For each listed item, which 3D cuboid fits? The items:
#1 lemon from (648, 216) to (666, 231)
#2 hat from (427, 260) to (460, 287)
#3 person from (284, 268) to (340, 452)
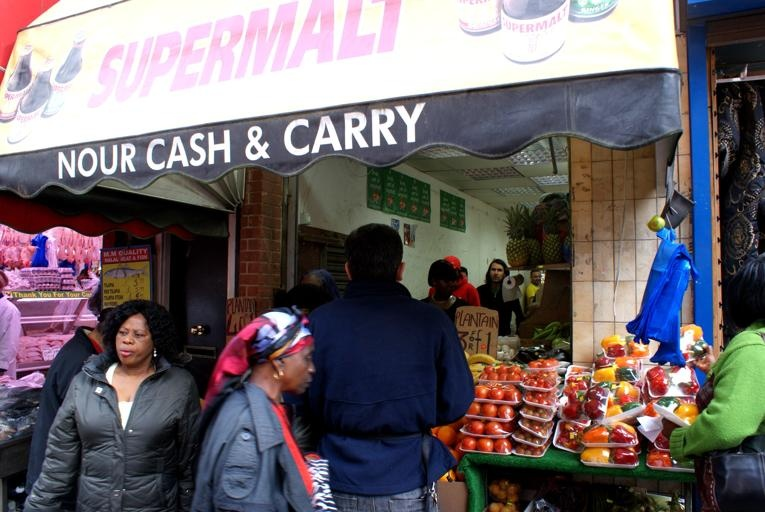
[{"bbox_3d":[1.901,-0.219,4.062,0.124,0.096,0.096,-9,1,-35],"label":"lemon"},{"bbox_3d":[0.645,0.192,6.327,0.312,0.304,0.246,-2,3,23],"label":"hat"},{"bbox_3d":[-0.621,0.828,4.995,0.579,1.221,0.476,0,10,-17],"label":"person"}]
